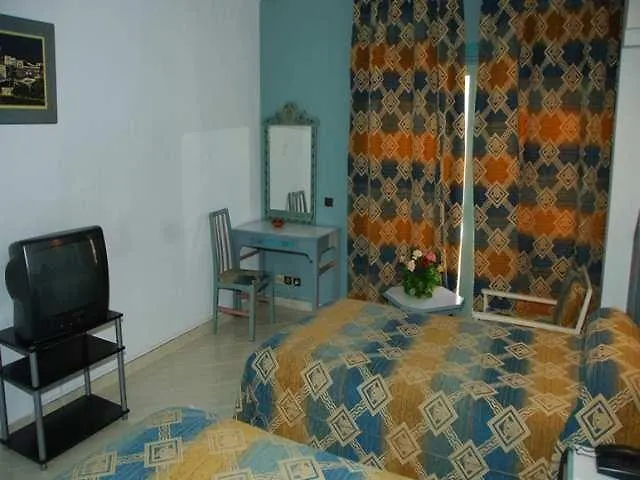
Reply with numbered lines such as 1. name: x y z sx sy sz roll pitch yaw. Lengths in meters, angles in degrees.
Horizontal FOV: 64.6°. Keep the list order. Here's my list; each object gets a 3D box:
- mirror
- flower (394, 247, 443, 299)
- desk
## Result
1. mirror: -0.336 -0.842 5.740 0.627 1.374 0.047 4 24 6
2. flower: 0.886 0.326 4.708 0.368 0.454 0.442 0 -26 2
3. desk: -0.382 0.315 5.637 1.010 1.071 0.572 9 22 24
